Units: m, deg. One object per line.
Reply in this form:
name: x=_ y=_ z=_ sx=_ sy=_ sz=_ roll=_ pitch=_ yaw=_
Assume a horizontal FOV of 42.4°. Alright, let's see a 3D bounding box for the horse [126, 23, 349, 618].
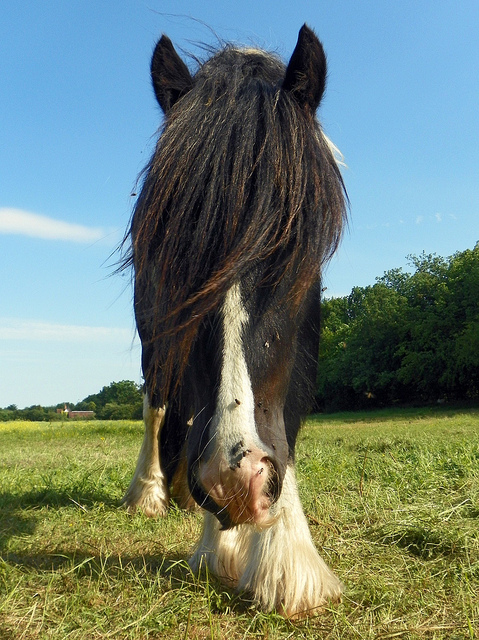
horse: x=-0.056 y=-0.179 z=2.678 sx=0.826 sy=2.573 sz=1.492 roll=1 pitch=-10 yaw=-10
